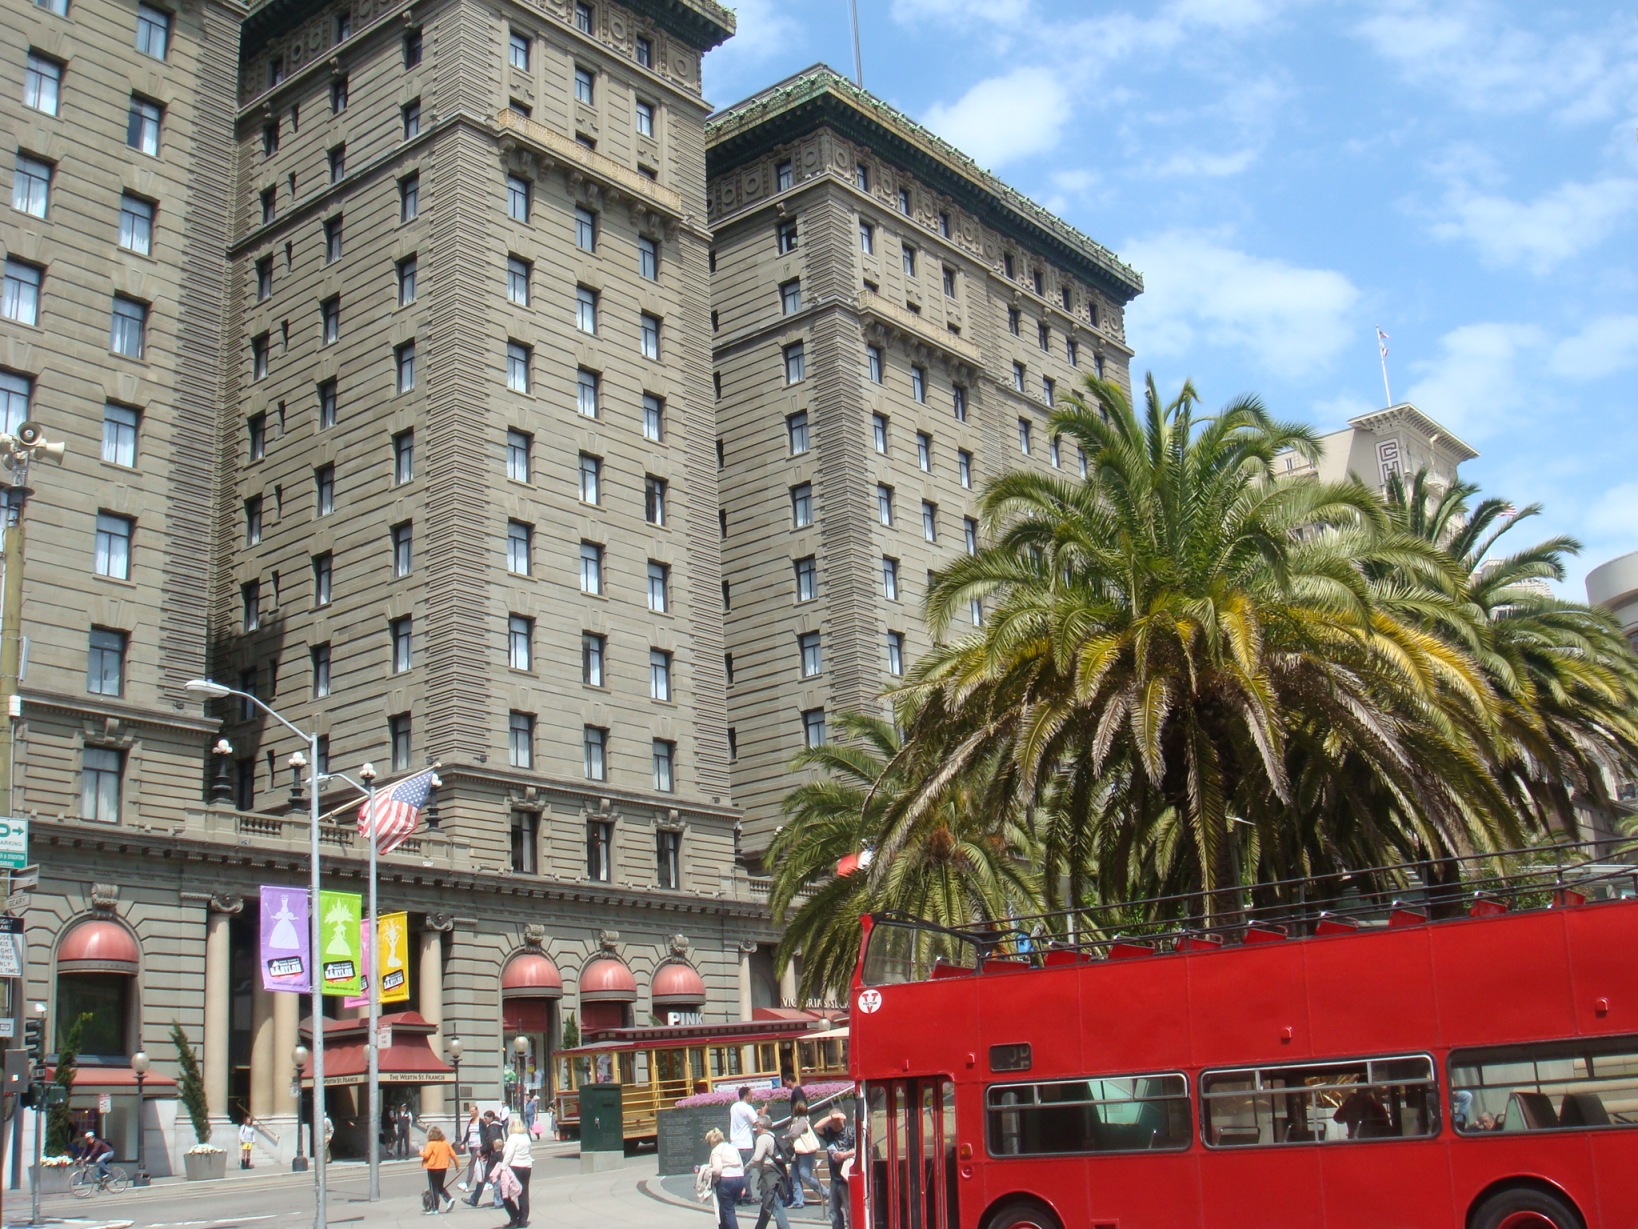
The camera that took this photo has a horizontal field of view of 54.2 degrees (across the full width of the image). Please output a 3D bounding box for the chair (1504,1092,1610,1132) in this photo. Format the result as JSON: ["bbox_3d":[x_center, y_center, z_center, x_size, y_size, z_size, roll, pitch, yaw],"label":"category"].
[{"bbox_3d":[9.443,6.386,20.624,1.217,0.462,0.224,-18,-25,41],"label":"chair"}]

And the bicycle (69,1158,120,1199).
[{"bbox_3d":[-20.976,16.666,47.369,0.732,0.898,1.535,-27,-40,37],"label":"bicycle"}]

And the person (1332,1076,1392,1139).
[{"bbox_3d":[7.367,6.776,21.848,0.733,0.673,0.180,-3,-8,39],"label":"person"}]
